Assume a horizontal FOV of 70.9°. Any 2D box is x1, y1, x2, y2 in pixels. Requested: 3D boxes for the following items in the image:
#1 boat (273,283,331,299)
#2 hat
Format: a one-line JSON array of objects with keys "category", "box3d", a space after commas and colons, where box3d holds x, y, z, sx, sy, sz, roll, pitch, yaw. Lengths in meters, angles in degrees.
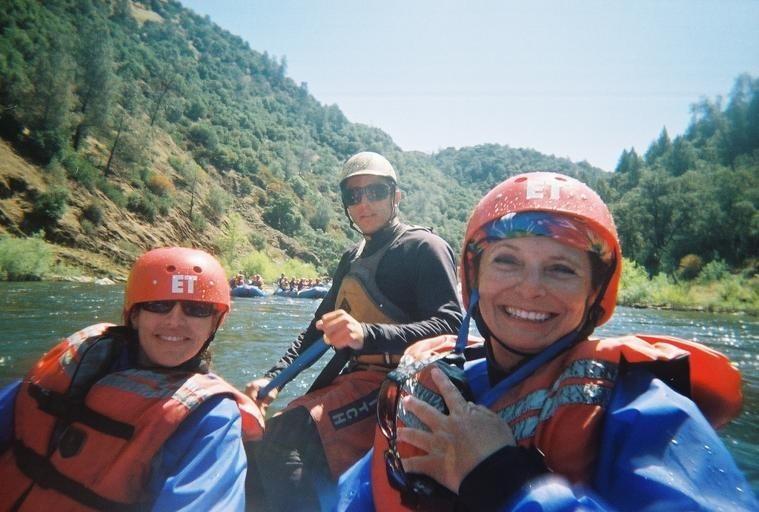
[{"category": "boat", "box3d": [-3.707, 1.647, 24.488, 1.063, 0.677, 3.645, 2, -9, -26]}, {"category": "hat", "box3d": [-1.523, 0.211, 4.040, 0.768, 0.574, 0.765, 1, 3, -44]}]
